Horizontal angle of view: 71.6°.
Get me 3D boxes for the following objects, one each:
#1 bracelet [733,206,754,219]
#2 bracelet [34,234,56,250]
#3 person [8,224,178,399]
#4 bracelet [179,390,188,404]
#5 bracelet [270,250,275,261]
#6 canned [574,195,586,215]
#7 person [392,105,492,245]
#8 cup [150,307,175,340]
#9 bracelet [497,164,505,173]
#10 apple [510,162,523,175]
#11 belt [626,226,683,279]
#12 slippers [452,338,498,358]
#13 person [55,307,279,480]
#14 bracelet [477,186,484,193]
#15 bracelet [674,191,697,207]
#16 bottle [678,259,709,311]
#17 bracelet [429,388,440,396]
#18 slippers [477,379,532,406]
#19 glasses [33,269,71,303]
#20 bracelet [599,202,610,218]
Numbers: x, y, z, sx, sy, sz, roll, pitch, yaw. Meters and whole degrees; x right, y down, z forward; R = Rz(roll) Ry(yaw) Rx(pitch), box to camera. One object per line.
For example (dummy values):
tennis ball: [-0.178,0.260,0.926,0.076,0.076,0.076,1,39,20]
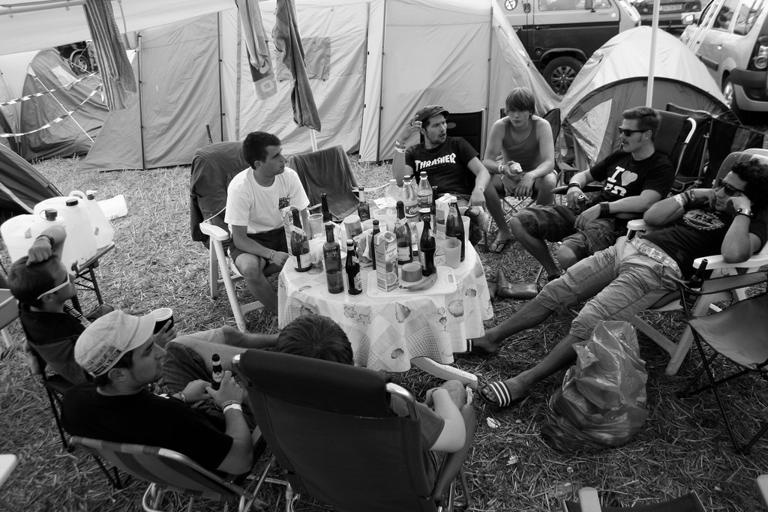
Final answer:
bracelet: [2.727,-0.322,4.032,0.096,0.071,0.100,17,0,35]
bracelet: [-2.328,-0.106,3.678,0.118,0.063,0.158,-3,10,-14]
person: [-2.231,0.425,4.030,0.695,1.183,0.654,35,50,25]
bracelet: [-1.279,0.882,3.404,0.032,0.062,0.073,-58,21,-5]
bracelet: [-0.966,-0.011,4.642,0.016,0.066,0.061,4,7,-28]
canned: [1.868,-0.495,5.095,0.087,0.182,0.107,-10,33,-3]
person: [0.553,-0.798,5.242,0.913,1.143,1.587,-10,24,-4]
cup: [-1.629,0.498,3.928,0.193,0.240,0.207,5,25,-2]
bracelet: [1.272,-0.947,5.739,0.028,0.087,0.070,16,-13,-42]
apple: [1.407,-0.925,5.655,0.114,0.100,0.169,-8,56,3]
belt: [2.138,-0.043,4.256,0.388,0.176,0.341,37,14,11]
slippers: [0.744,0.720,4.296,0.322,0.231,0.117,6,26,7]
person: [-1.463,0.829,3.401,1.339,1.078,0.842,-5,13,14]
bracelet: [0.965,-0.671,5.351,0.034,0.054,0.123,-8,26,30]
bracelet: [2.504,-0.478,4.424,0.155,0.066,0.113,-16,10,-40]
bottle: [2.381,0.197,4.101,0.123,0.371,0.104,-12,30,-36]
bracelet: [0.308,0.826,3.296,0.030,0.048,0.041,-5,-4,-5]
slippers: [0.870,1.038,4.083,0.295,0.185,0.087,-13,6,9]
glasses: [-2.204,0.203,3.554,0.155,0.044,0.155,-38,28,-4]
bracelet: [2.010,-0.422,4.858,0.079,0.135,0.117,7,28,29]
